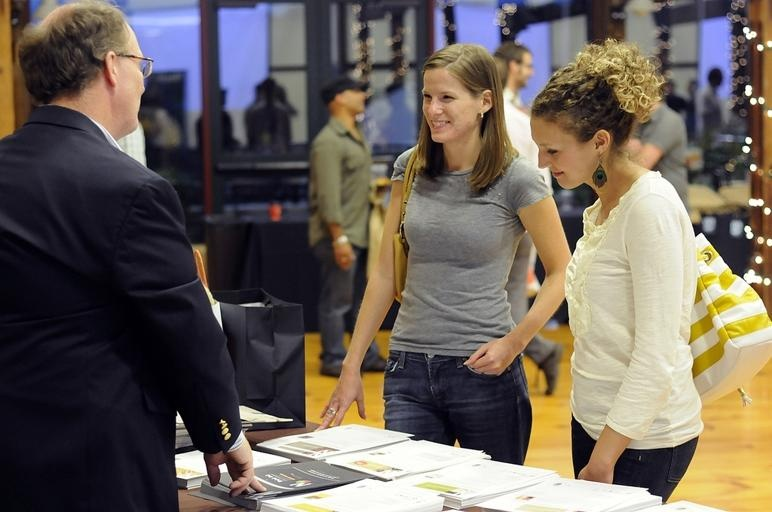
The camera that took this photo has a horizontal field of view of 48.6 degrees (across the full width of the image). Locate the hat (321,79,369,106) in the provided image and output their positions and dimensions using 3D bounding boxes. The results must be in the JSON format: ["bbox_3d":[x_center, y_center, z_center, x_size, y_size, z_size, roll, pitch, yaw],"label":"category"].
[{"bbox_3d":[-0.284,-1.129,5.772,0.257,0.093,0.191,-20,9,-14],"label":"hat"}]

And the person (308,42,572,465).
[{"bbox_3d":[0.172,0.341,2.786,0.890,1.962,0.556,0,14,5],"label":"person"}]
